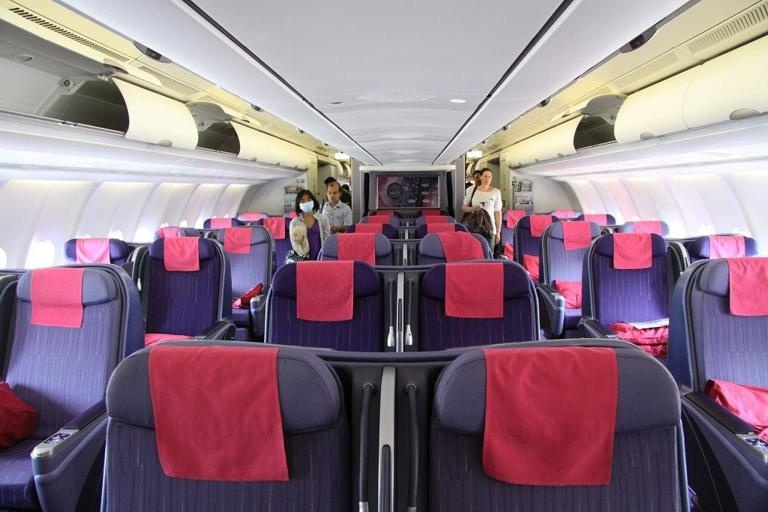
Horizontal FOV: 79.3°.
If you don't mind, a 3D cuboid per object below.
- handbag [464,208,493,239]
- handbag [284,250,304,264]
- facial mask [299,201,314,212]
[{"bbox_3d":[1.240,-0.413,6.027,0.413,0.421,0.221,9,14,38],"label":"handbag"},{"bbox_3d":[-1.004,0.016,5.189,0.106,0.057,0.150,12,-43,6],"label":"handbag"},{"bbox_3d":[-0.924,-0.592,5.581,0.124,0.079,0.131,-4,25,-11],"label":"facial mask"}]
